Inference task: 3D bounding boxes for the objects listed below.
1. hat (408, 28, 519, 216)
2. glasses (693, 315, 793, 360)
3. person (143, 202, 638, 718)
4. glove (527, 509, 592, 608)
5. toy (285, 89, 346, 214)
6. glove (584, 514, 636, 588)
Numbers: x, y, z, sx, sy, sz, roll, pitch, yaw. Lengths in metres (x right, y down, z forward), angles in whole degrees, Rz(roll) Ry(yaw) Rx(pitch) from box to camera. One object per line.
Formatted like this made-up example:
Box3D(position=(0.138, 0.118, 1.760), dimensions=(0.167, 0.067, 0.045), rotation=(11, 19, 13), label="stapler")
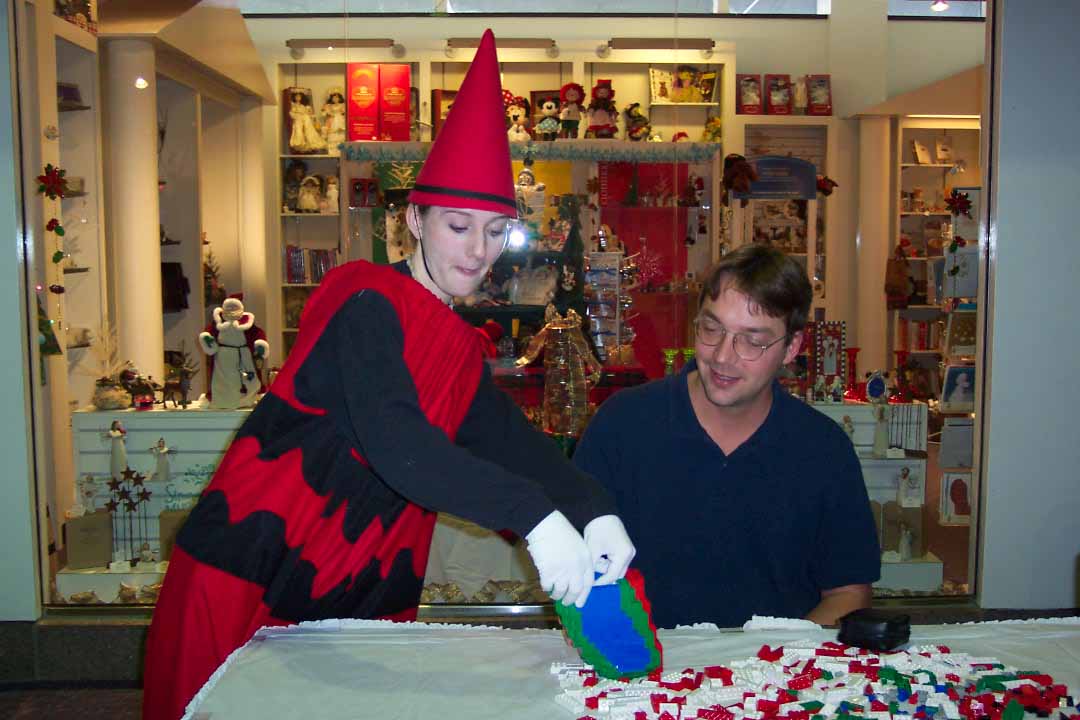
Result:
Box3D(position=(-0.246, -0.732, 3.053), dimensions=(0.329, 0.584, 0.131), rotation=(-1, -1, -9), label="hat")
Box3D(position=(0.670, -0.077, 3.273), dimensions=(0.299, 0.155, 0.075), rotation=(-1, -1, 9), label="glasses")
Box3D(position=(-0.478, 0.290, 3.062), dimensions=(1.469, 1.599, 0.529), rotation=(-1, -1, 16), label="person")
Box3D(position=(0.049, 0.541, 2.753), dimensions=(0.161, 0.253, 0.072), rotation=(-24, 4, -14), label="glove")
Box3D(position=(-1.370, -1.243, 5.968), dimensions=(0.355, 0.700, 0.555), rotation=(-1, -1, -14), label="toy")
Box3D(position=(0.196, 0.544, 2.821), dimensions=(0.139, 0.192, 0.148), rotation=(-1, -1, 1), label="glove")
